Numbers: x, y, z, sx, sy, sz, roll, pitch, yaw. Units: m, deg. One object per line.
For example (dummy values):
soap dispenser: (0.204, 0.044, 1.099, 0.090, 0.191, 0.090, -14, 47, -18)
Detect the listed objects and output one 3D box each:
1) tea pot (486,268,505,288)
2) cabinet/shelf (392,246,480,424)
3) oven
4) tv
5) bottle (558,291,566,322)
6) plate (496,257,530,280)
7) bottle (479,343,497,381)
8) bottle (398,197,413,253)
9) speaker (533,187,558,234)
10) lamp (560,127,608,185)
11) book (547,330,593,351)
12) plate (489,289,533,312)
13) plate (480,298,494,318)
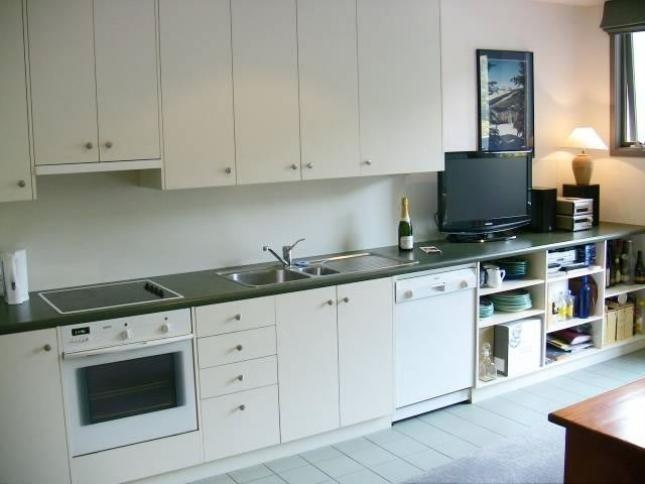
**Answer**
tea pot: (1.301, 0.277, 4.082, 0.153, 0.151, 0.115, -4, 6, -28)
cabinet/shelf: (0.704, 0.689, 4.008, 0.768, 0.995, 0.702, -9, 7, -27)
oven: (-1.123, 0.746, 3.220, 0.782, 0.876, 0.696, -4, 5, -34)
tv: (1.323, -0.369, 4.362, 0.875, 0.705, 0.209, -5, 7, -15)
bottle: (2.022, 0.539, 4.448, 0.101, 0.230, 0.019, -10, 8, -33)
plate: (1.527, 0.204, 4.235, 0.179, 0.093, 0.207, -1, 3, 1)
bottle: (1.269, 0.915, 4.080, 0.133, 0.261, 0.245, -3, 8, 19)
bottle: (0.632, -0.137, 4.089, 0.111, 0.403, 0.207, -4, 7, 9)
speaker: (1.948, -0.303, 4.695, 0.242, 0.366, 0.232, -13, 15, -36)
lamp: (2.465, -0.797, 5.001, 0.464, 0.536, 0.429, 3, 2, 44)
book: (2.099, 0.841, 4.533, 0.223, 0.083, 0.220, -9, 14, -38)
plate: (1.474, 0.473, 4.165, 0.206, 0.081, 0.207, 4, 11, 36)
plate: (1.246, 0.495, 4.044, 0.125, 0.051, 0.132, 14, 22, 39)
